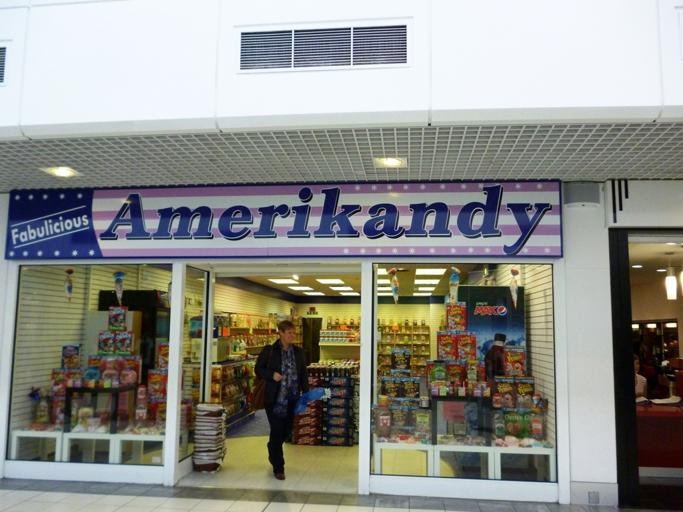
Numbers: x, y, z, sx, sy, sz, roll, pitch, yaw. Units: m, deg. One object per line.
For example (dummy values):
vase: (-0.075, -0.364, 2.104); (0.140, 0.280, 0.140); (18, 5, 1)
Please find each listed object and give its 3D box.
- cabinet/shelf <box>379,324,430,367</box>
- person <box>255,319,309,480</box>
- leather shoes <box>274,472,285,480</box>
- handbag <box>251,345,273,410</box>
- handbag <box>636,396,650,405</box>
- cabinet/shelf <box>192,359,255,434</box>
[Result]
cabinet/shelf: (0.789, 1.119, 7.253); (0.636, 0.476, 0.169); (1, 0, 3)
person: (-0.815, 1.844, 7.760); (0.528, 1.971, 0.648); (-1, -3, 27)
leather shoes: (-0.788, 2.777, 7.392); (0.136, 0.066, 0.138); (1, -2, -7)
handbag: (-1.086, 1.613, 7.738); (0.226, 0.698, 0.447); (0, -14, 10)
handbag: (4.210, 1.984, 8.056); (0.110, 0.094, 0.255); (-2, -3, 43)
cabinet/shelf: (-1.935, 2.267, 9.401); (0.728, 1.069, 1.932); (-1, -7, 12)
